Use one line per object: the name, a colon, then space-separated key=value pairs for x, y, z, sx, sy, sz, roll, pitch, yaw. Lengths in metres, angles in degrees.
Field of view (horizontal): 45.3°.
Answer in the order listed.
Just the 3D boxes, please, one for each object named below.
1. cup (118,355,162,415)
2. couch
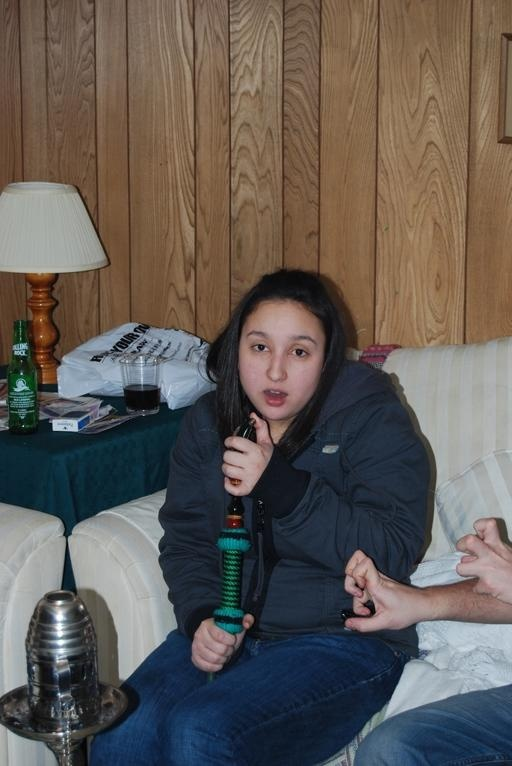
cup: x=-0.277 y=0.012 z=1.554 sx=0.114 sy=0.169 sz=0.123 roll=-2 pitch=-8 yaw=0
couch: x=0.090 y=0.193 z=1.081 sx=0.591 sy=0.577 sz=0.607 roll=9 pitch=20 yaw=44
